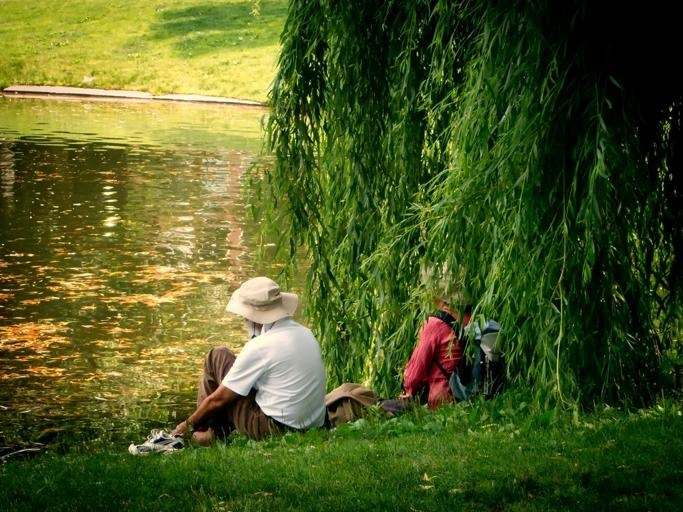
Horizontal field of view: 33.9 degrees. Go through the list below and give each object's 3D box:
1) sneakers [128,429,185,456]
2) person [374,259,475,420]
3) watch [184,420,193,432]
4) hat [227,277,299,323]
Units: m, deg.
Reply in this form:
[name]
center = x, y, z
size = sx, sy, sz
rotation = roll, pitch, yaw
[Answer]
[sneakers]
center = -1.695, 1.714, 10.345
size = 0.527, 0.299, 0.225
rotation = 2, -8, -8
[person]
center = 0.803, 0.757, 10.527
size = 0.894, 1.713, 0.684
rotation = 24, 29, 36
[watch]
center = -1.454, 1.614, 10.667
size = 0.025, 0.114, 0.109
rotation = -18, 66, -29
[hat]
center = -0.733, 0.424, 10.270
size = 0.636, 0.426, 0.318
rotation = -5, 13, -5
